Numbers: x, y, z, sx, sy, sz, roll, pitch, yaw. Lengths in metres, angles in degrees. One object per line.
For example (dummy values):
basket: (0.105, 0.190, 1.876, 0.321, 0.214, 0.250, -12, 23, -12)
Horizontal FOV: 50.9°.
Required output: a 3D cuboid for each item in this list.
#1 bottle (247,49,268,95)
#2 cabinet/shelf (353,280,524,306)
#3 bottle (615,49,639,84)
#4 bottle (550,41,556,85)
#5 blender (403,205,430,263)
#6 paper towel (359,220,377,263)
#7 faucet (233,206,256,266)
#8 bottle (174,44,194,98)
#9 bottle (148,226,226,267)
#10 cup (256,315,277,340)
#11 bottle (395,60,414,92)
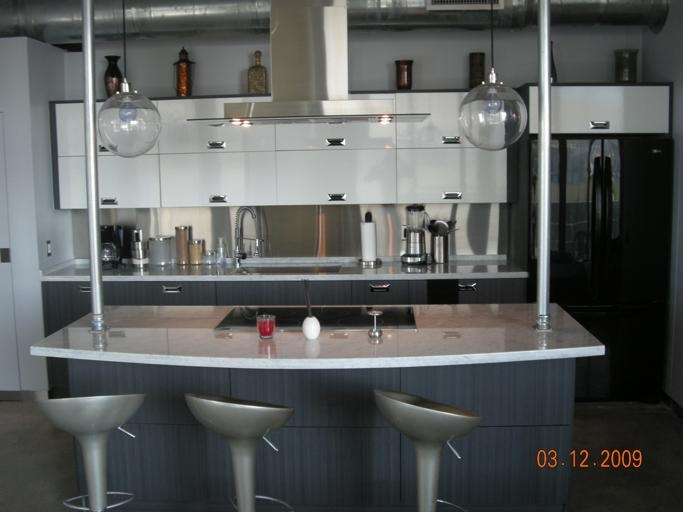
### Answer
bottle: (-0.756, -1.677, 6.500, 0.178, 0.063, 0.470, 1, -38, -4)
cabinet/shelf: (0.847, 0.307, 6.238, 1.518, 0.210, 0.076, -1, 10, 1)
bottle: (2.506, -1.700, 6.349, 0.199, 0.286, 0.173, -7, 12, -29)
bottle: (1.894, -1.737, 6.376, 0.054, 0.406, 0.561, 2, 11, 17)
blender: (0.690, -0.222, 6.670, 0.249, 0.537, 0.406, 0, 10, 8)
paper towel: (0.245, -0.119, 6.591, 0.144, 0.390, 0.149, -3, -6, 15)
faucet: (-0.916, -0.222, 6.768, 0.180, 0.479, 0.329, 1, 10, 8)
bottle: (-1.447, -1.688, 6.589, 0.252, 0.425, 0.257, 0, 7, 0)
bottle: (-1.455, -0.103, 6.782, 0.644, 0.343, 0.374, 0, 4, -6)
cup: (-0.458, 0.433, 4.342, 0.126, 0.144, 0.126, 0, 2, 0)
bottle: (0.557, -1.622, 6.473, 0.243, 0.321, 0.238, 0, 5, 0)
